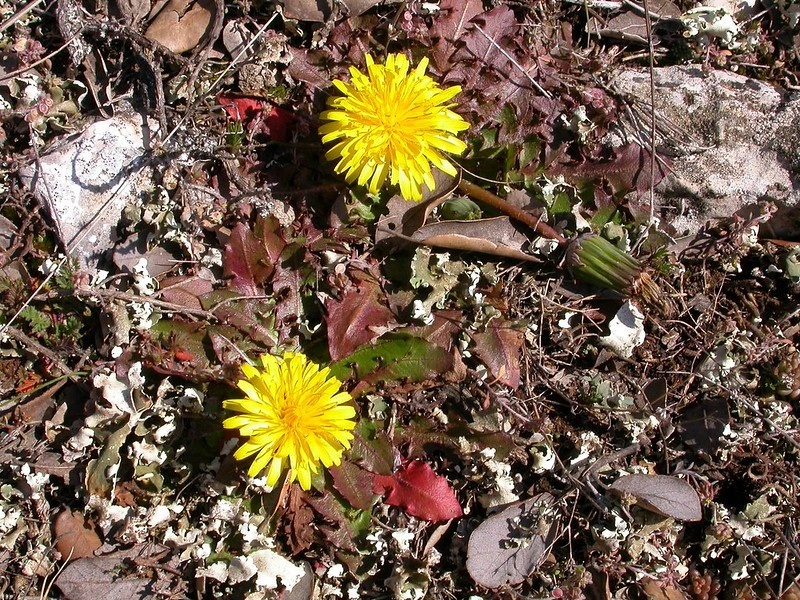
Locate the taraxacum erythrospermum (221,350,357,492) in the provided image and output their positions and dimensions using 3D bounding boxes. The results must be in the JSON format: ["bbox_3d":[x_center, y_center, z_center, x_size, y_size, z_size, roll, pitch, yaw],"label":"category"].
[{"bbox_3d":[-0.459,0.495,2.979,0.577,0.598,0.237,1,102,-23],"label":"taraxacum erythrospermum"}]

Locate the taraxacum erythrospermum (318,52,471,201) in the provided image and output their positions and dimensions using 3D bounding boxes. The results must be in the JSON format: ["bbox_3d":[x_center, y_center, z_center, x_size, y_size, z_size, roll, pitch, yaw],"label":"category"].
[{"bbox_3d":[-0.027,-0.748,3.280,0.652,0.243,0.660,-44,96,-3],"label":"taraxacum erythrospermum"}]
